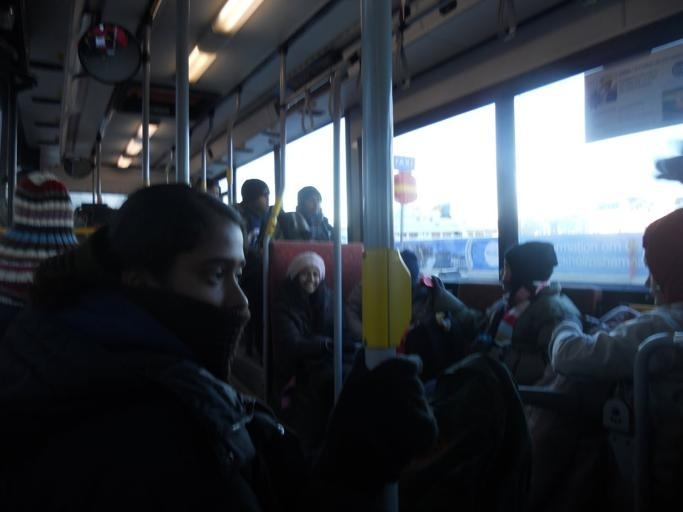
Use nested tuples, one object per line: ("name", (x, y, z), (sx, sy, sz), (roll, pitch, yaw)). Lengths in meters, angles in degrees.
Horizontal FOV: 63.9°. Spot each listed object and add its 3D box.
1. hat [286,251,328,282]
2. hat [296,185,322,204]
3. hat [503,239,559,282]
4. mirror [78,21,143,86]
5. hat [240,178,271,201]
("hat", (-0.185, 0.046, 2.952), (0.142, 0.139, 0.158), (5, -2, -9))
("hat", (-0.260, -0.496, 4.219), (0.188, 0.175, 0.138), (-6, 10, -30))
("hat", (0.863, 0.013, 2.501), (0.198, 0.195, 0.151), (6, 4, 37))
("mirror", (-1.313, -1.168, 3.100), (0.331, 0.356, 0.192), (0, 3, -26))
("hat", (-0.697, -0.551, 4.431), (0.191, 0.183, 0.147), (-19, 15, -15))
